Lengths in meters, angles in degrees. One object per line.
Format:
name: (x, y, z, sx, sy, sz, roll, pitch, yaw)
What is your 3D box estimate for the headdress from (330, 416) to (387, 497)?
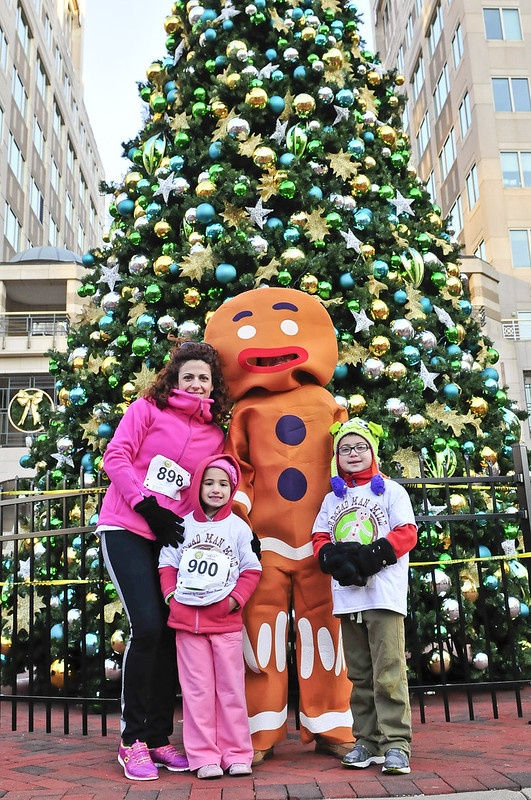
headdress: (0.465, 0.261, 3.593, 0.283, 0.403, 0.235, 3, 6, 42)

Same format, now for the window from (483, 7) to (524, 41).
window: (8.068, -12.813, 26.123, 1.372, 1.175, 0.178, -2, 0, 3)

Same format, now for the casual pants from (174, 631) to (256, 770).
casual pants: (-0.212, 1.253, 3.234, 0.294, 0.550, 0.240, -2, -16, -10)

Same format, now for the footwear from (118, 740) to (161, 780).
footwear: (-0.527, 1.498, 3.191, 0.090, 0.092, 0.230, 5, -16, -23)

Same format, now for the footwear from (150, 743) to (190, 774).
footwear: (-0.409, 1.541, 3.297, 0.192, 0.081, 0.076, -8, -17, 35)

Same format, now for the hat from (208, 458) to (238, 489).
hat: (-0.182, 0.332, 3.477, 0.113, 0.120, 0.142, 4, -18, 2)

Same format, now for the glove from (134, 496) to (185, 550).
glove: (-0.451, 0.532, 3.436, 0.169, 0.250, 0.090, -38, -1, 5)
